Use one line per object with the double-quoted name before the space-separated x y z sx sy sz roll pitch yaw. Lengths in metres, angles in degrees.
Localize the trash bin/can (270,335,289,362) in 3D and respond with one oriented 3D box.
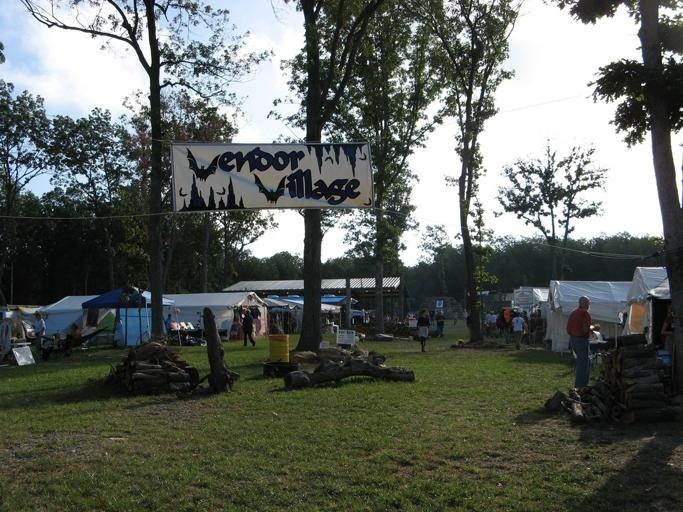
"trash bin/can" -1.782 2.710 20.516 0.539 0.808 0.625 0 -6 -9
